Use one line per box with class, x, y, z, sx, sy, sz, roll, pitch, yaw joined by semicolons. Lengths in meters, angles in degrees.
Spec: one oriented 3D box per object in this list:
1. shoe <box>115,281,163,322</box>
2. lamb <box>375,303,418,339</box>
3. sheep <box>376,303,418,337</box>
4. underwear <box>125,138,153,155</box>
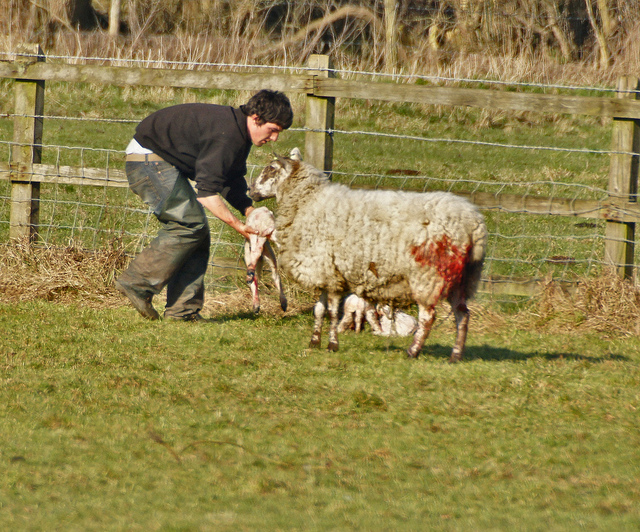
shoe;-1.942;0.443;15.361;0.449;0.433;0.576;3;18;14
lamb;0.867;0.519;15.781;0.500;0.518;0.336;-1;40;0
sheep;0.829;0.607;15.706;0.393;0.455;0.305;0;-6;4
underwear;-1.969;-1.253;15.301;0.215;0.187;0.174;-14;7;2
